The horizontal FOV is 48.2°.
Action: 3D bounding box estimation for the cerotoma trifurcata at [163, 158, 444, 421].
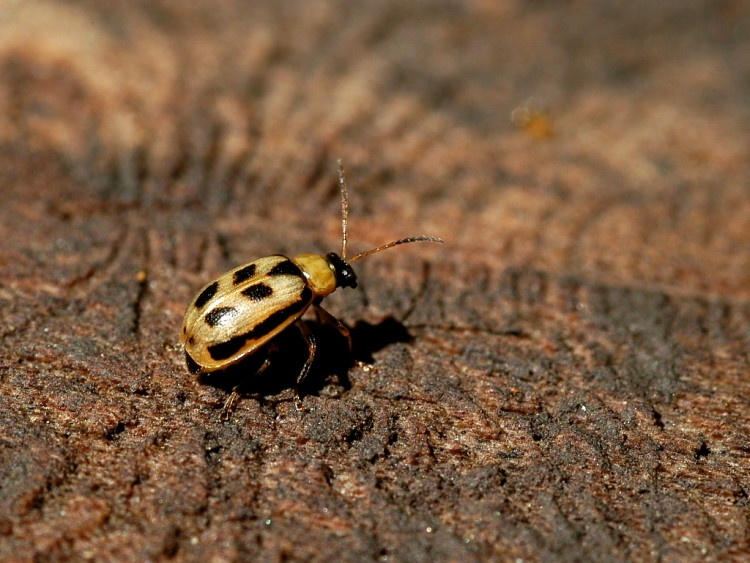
[{"bbox_3d":[-0.754,0.094,6.181,1.391,0.688,0.928,-22,52,-25],"label":"cerotoma trifurcata"}]
